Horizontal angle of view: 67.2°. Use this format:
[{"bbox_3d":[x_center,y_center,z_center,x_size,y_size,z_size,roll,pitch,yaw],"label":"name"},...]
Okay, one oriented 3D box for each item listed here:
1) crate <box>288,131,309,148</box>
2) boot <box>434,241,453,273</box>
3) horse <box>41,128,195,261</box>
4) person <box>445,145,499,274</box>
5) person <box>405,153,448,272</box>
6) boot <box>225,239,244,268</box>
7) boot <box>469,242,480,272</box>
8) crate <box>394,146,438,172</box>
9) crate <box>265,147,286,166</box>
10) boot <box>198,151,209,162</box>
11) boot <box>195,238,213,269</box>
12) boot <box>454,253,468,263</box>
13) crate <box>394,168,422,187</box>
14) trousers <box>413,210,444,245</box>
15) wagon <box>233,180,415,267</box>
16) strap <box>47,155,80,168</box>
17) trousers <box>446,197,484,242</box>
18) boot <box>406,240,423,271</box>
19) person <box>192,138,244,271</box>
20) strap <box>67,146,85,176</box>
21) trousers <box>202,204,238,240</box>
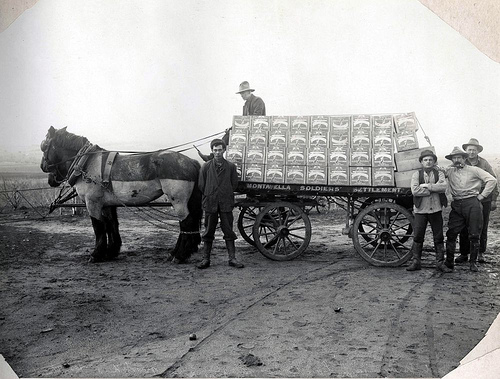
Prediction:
[{"bbox_3d":[0.829,-0.859,6.409,0.296,0.296,0.076,0,-10,15],"label":"crate"},{"bbox_3d":[3.108,1.063,6.035,0.260,0.511,0.221,3,9,29],"label":"boot"},{"bbox_3d":[-2.717,0.227,7.696,2.498,2.298,1.023,1,6,8],"label":"horse"},{"bbox_3d":[3.560,0.333,6.109,0.717,2.021,1.096,3,9,30],"label":"person"},{"bbox_3d":[2.968,0.402,6.254,0.627,2.013,1.075,2,9,26],"label":"person"},{"bbox_3d":[-0.260,1.076,6.512,0.288,0.522,0.300,-2,8,-4],"label":"boot"},{"bbox_3d":[3.619,1.070,6.036,0.243,0.483,0.125,-7,10,-35],"label":"boot"},{"bbox_3d":[2.561,-0.490,6.090,0.562,0.432,0.286,-8,3,25],"label":"crate"},{"bbox_3d":[0.440,-0.556,6.410,0.288,0.272,0.102,0,-7,5],"label":"crate"},{"bbox_3d":[-0.894,-0.636,7.241,0.153,0.163,0.375,-2,8,-6],"label":"boot"},{"bbox_3d":[-0.785,1.084,6.442,0.261,0.542,0.194,-4,8,-17],"label":"boot"},{"bbox_3d":[3.734,1.219,6.633,0.310,0.141,0.107,2,-1,-18],"label":"boot"},{"bbox_3d":[2.492,-0.178,5.988,0.276,0.309,0.189,-3,-3,16],"label":"crate"},{"bbox_3d":[2.850,0.606,5.989,0.425,0.551,0.214,2,8,22],"label":"trousers"},{"bbox_3d":[1.351,0.516,7.295,3.148,1.789,2.844,-7,7,-25],"label":"wagon"},{"bbox_3d":[-3.626,-0.555,7.343,0.563,0.067,0.076,-22,37,17],"label":"strap"},{"bbox_3d":[3.484,0.491,6.098,0.487,0.744,0.297,3,9,29],"label":"trousers"},{"bbox_3d":[2.708,1.071,6.135,0.395,0.490,0.185,-6,9,-31],"label":"boot"},{"bbox_3d":[-0.611,0.241,6.672,0.838,2.277,1.121,-3,8,-10],"label":"person"},{"bbox_3d":[-3.288,-0.525,7.134,0.075,0.618,0.066,20,-11,27],"label":"strap"},{"bbox_3d":[-0.517,0.546,6.364,0.598,0.711,0.234,5,22,-5],"label":"trousers"}]
